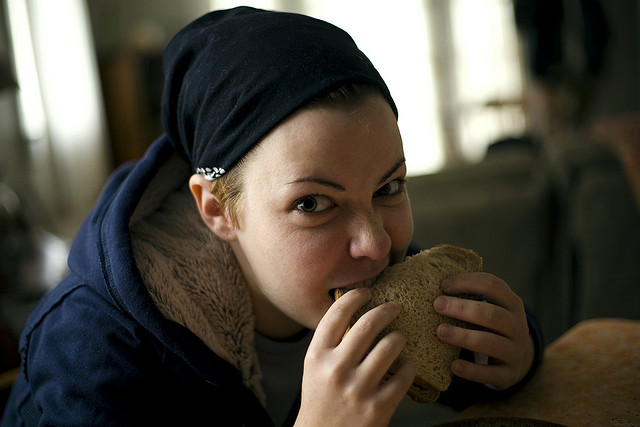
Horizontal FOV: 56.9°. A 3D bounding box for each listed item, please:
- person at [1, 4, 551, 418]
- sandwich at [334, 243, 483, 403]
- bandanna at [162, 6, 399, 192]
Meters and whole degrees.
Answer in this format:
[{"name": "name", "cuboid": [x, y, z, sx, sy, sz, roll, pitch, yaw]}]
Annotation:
[{"name": "person", "cuboid": [-0.282, 0.164, 1.758, 1.020, 0.943, 1.325, -16, 7, -32]}, {"name": "sandwich", "cuboid": [0.238, 0.248, 1.487, 0.358, 0.377, 0.124, 21, -11, -1]}, {"name": "bandanna", "cuboid": [-0.145, -0.296, 1.537, 0.635, 0.437, 0.239, -3, 14, 18]}]
